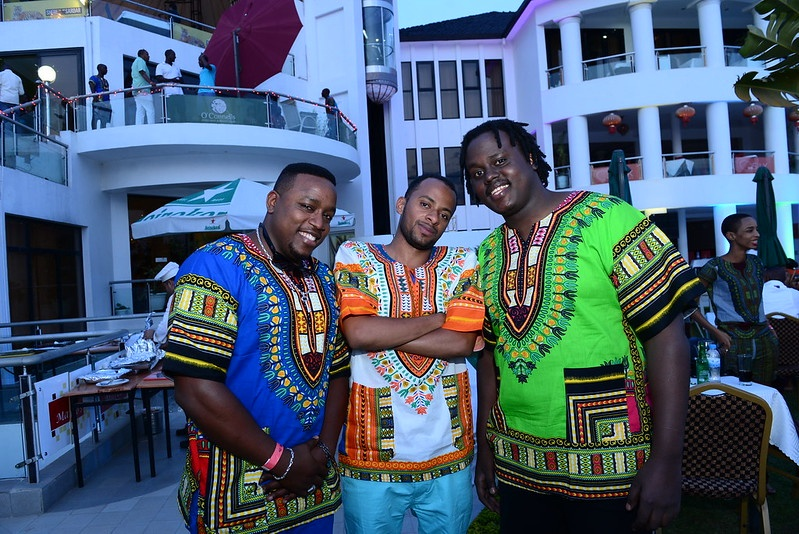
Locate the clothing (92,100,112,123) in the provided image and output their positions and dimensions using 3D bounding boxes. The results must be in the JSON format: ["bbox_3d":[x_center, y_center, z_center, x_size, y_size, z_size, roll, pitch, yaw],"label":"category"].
[{"bbox_3d":[-7.493,-3.909,19.718,0.504,0.527,0.036,3,7,1],"label":"clothing"}]

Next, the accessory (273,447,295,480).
[{"bbox_3d":[-1.410,2.316,9.162,0.095,0.343,0.278,18,35,-24],"label":"accessory"}]

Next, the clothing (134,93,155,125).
[{"bbox_3d":[-6.382,-3.962,19.618,0.528,0.730,0.136,5,8,14],"label":"clothing"}]
